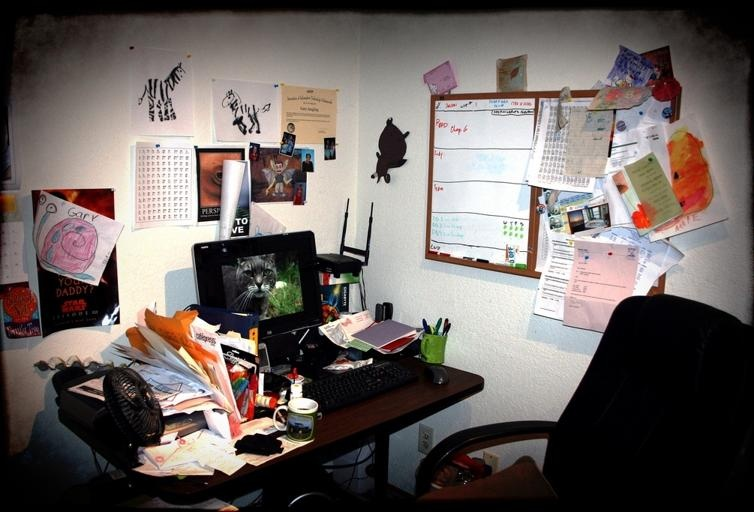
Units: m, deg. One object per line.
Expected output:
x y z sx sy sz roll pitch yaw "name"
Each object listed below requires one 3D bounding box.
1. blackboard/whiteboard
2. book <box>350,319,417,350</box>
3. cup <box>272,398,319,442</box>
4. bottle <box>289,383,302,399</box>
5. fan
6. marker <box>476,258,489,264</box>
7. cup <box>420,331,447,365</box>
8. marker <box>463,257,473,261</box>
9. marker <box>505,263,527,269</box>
0.778 -0.280 2.124 0.955 0.713 0.036 10 15 38 "blackboard/whiteboard"
0.032 0.375 2.450 0.158 0.039 0.169 14 25 38 "book"
-0.281 0.597 1.870 0.181 0.130 0.113 3 4 19 "cup"
-0.302 0.514 1.891 0.040 0.050 0.082 1 8 -13 "bottle"
-0.809 0.503 1.636 0.084 0.252 0.228 -26 -31 16 "fan"
0.492 0.023 2.348 0.042 0.022 0.028 3 3 15 "marker"
0.274 0.433 2.423 0.104 0.126 0.156 7 17 39 "cup"
0.433 0.012 2.390 0.044 0.016 0.013 19 26 38 "marker"
0.623 0.044 2.249 0.071 0.021 0.020 4 -3 38 "marker"
